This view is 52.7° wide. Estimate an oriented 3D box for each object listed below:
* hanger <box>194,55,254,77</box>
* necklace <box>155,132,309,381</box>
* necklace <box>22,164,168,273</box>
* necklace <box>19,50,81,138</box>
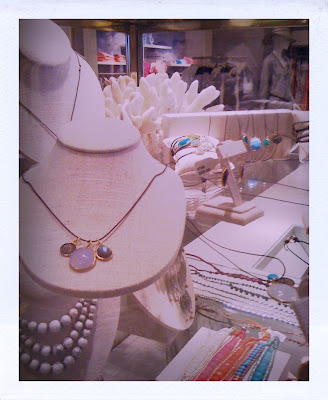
[{"bbox_3d":[0.194,-0.437,1.072,0.193,0.062,0.028,-2,12,7],"label":"hanger"},{"bbox_3d":[0.224,0.131,0.886,0.325,0.538,0.549,3,14,25],"label":"necklace"},{"bbox_3d":[-0.166,0.049,0.740,0.227,0.232,0.018,3,-28,-8],"label":"necklace"},{"bbox_3d":[-0.267,-0.253,0.792,0.156,0.208,0.073,-9,13,-27],"label":"necklace"}]
